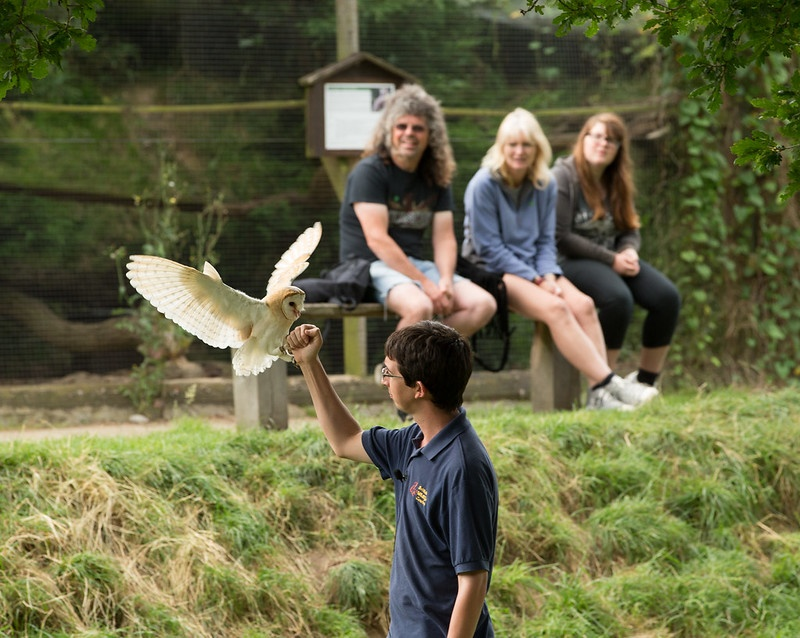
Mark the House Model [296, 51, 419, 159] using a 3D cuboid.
[{"bbox_3d":[-0.300,-1.432,9.197,0.644,0.765,0.587,-4,14,-36],"label":"House Model"}]

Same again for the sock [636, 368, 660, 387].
[{"bbox_3d":[1.788,0.418,9.800,0.115,0.152,0.124,4,4,-9],"label":"sock"}]

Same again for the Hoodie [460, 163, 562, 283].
[{"bbox_3d":[0.779,-0.681,9.504,0.566,0.850,0.782,0,-1,-17],"label":"Hoodie"}]

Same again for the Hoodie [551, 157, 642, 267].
[{"bbox_3d":[1.397,-0.693,9.820,0.456,0.904,0.508,-3,15,-39],"label":"Hoodie"}]
